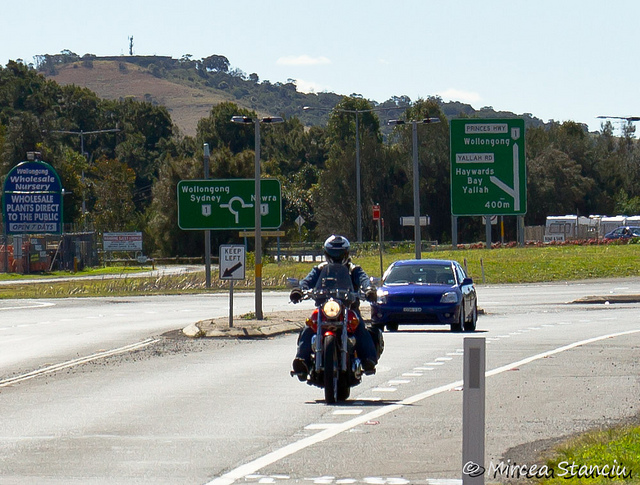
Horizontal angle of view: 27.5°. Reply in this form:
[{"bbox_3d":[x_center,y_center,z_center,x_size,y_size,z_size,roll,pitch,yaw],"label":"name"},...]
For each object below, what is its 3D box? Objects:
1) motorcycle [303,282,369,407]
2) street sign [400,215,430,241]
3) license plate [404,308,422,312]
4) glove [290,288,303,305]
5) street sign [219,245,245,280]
[{"bbox_3d":[0.290,1.618,20.980,0.828,1.982,0.775,-1,-1,-7],"label":"motorcycle"},{"bbox_3d":[5.640,-0.982,77.619,1.416,1.924,0.229,1,3,-2],"label":"street sign"},{"bbox_3d":[2.193,1.541,30.483,0.396,0.093,0.079,-2,-1,23],"label":"license plate"},{"bbox_3d":[-0.374,0.857,21.509,0.185,0.250,0.213,-5,-4,-1],"label":"glove"},{"bbox_3d":[-2.059,0.426,31.156,0.601,1.076,0.099,1,2,2],"label":"street sign"}]
